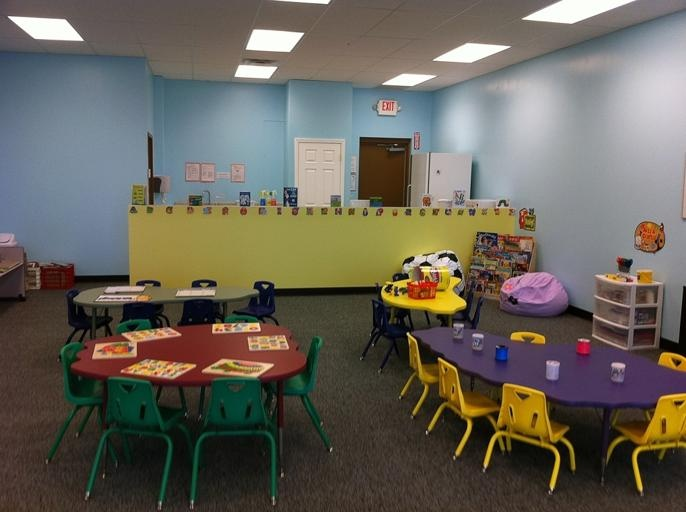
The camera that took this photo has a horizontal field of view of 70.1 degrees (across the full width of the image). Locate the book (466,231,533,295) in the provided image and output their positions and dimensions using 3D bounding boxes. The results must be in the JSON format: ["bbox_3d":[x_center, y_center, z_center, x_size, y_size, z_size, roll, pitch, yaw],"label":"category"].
[{"bbox_3d":[2.790,0.139,8.565,0.960,1.036,0.375,6,3,29],"label":"book"}]

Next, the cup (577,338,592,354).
[{"bbox_3d":[2.153,0.797,4.375,0.132,0.141,0.128,-1,5,0],"label":"cup"}]

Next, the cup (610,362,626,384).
[{"bbox_3d":[2.155,0.921,3.879,0.120,0.148,0.137,-1,1,-7],"label":"cup"}]

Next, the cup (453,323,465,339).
[{"bbox_3d":[1.074,0.701,4.595,0.112,0.139,0.122,-1,3,0],"label":"cup"}]

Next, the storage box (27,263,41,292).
[{"bbox_3d":[-5.431,0.392,8.579,0.225,0.326,0.415,1,11,-10],"label":"storage box"}]

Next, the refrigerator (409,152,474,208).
[{"bbox_3d":[2.016,-1.556,10.345,1.014,1.995,1.246,-1,9,-10],"label":"refrigerator"}]

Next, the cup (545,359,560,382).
[{"bbox_3d":[1.654,0.898,3.899,0.127,0.156,0.129,0,5,0],"label":"cup"}]

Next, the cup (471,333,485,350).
[{"bbox_3d":[1.210,0.765,4.375,0.114,0.123,0.104,-1,8,0],"label":"cup"}]

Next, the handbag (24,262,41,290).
[{"bbox_3d":[-5.399,0.361,8.497,0.211,0.315,0.404,1,11,-12],"label":"handbag"}]

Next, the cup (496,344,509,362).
[{"bbox_3d":[1.368,0.836,4.198,0.095,0.114,0.128,-1,2,3],"label":"cup"}]

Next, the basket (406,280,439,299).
[{"bbox_3d":[0.950,0.399,5.899,0.256,0.149,0.200,1,7,-6],"label":"basket"}]

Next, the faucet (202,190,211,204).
[{"bbox_3d":[-2.884,-1.256,10.336,0.163,0.289,0.477,-2,13,-14],"label":"faucet"}]

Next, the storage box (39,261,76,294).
[{"bbox_3d":[-5.076,0.380,8.693,0.439,0.372,0.471,0,8,-12],"label":"storage box"}]

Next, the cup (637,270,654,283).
[{"bbox_3d":[3.869,0.262,6.254,0.170,0.132,0.135,-2,4,-40],"label":"cup"}]

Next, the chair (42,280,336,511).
[{"bbox_3d":[-1.074,1.191,3.973,1.928,0.968,1.279,3,13,9],"label":"chair"}]
